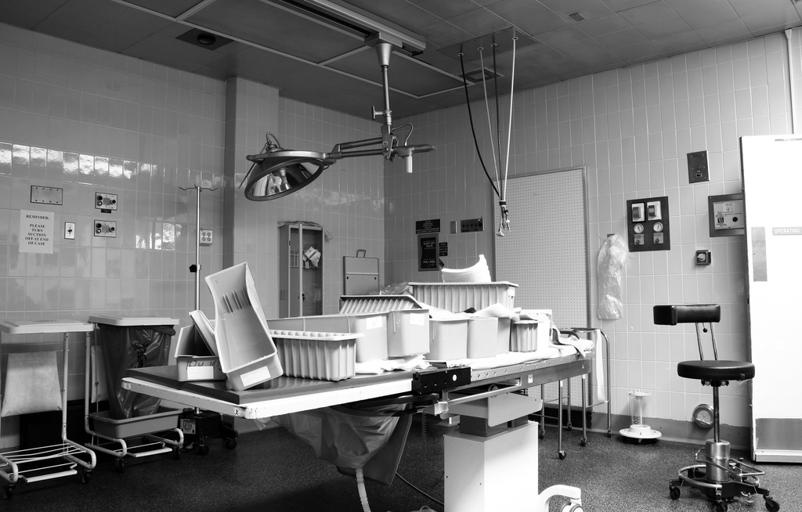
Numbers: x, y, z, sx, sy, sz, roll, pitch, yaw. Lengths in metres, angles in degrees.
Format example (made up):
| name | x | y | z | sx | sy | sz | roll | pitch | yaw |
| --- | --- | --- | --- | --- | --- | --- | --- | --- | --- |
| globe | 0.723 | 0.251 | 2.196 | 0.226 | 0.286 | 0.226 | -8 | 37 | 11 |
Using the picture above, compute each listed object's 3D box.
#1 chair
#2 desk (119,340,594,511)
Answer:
| name | x | y | z | sx | sy | sz | roll | pitch | yaw |
| --- | --- | --- | --- | --- | --- | --- | --- | --- | --- |
| chair | 2.922 | 1.302 | 5.710 | 0.942 | 1.537 | 1.251 | -1 | 0 | 30 |
| desk | -0.054 | 1.353 | 4.504 | 3.614 | 1.066 | 1.024 | -2 | 0 | -24 |
